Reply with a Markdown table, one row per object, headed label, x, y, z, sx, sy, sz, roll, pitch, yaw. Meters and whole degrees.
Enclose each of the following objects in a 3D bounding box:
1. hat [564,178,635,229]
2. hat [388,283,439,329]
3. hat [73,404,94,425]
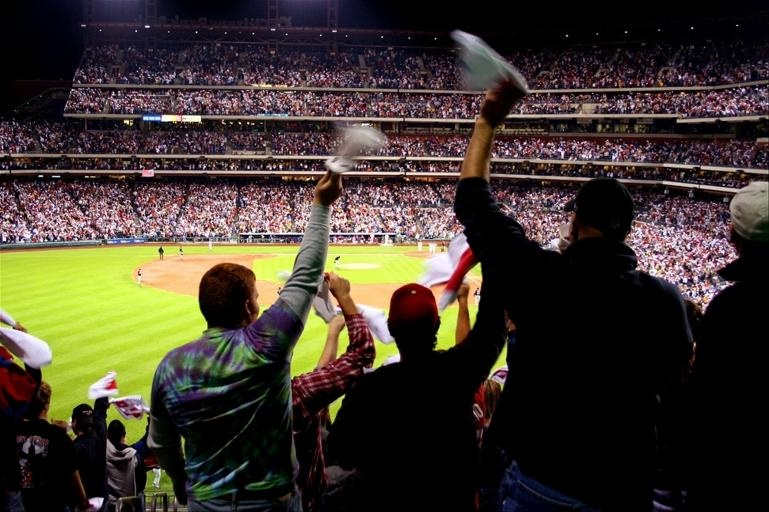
| label | x | y | z | sx | sy | sz | roll | pitch | yaw |
| --- | --- | --- | --- | --- | --- | --- | --- | --- | --- |
| hat | 2.146 | -0.517 | 5.923 | 0.552 | 0.497 | 0.287 | 7 | 10 | 14 |
| hat | 0.290 | 0.511 | 6.314 | 0.526 | 0.375 | 0.721 | 2 | 22 | 4 |
| hat | -4.628 | 2.424 | 9.381 | 0.263 | 0.273 | 0.391 | -2 | 12 | -34 |
